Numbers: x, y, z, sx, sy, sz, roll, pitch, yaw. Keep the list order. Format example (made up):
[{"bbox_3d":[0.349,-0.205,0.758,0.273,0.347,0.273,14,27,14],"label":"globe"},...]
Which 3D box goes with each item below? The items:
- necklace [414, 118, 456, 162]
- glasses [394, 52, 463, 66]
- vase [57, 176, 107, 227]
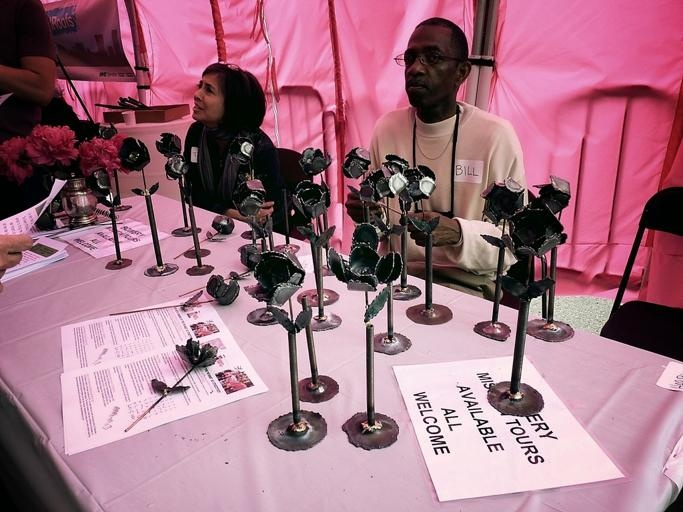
[{"bbox_3d":[0.469,-0.582,2.392,0.208,0.259,0.021,5,15,19],"label":"necklace"},{"bbox_3d":[0.419,-0.932,2.270,0.252,0.066,0.113,9,22,17],"label":"glasses"},{"bbox_3d":[-1.289,-0.274,2.391,0.151,0.247,0.150,-19,29,-37],"label":"vase"}]
